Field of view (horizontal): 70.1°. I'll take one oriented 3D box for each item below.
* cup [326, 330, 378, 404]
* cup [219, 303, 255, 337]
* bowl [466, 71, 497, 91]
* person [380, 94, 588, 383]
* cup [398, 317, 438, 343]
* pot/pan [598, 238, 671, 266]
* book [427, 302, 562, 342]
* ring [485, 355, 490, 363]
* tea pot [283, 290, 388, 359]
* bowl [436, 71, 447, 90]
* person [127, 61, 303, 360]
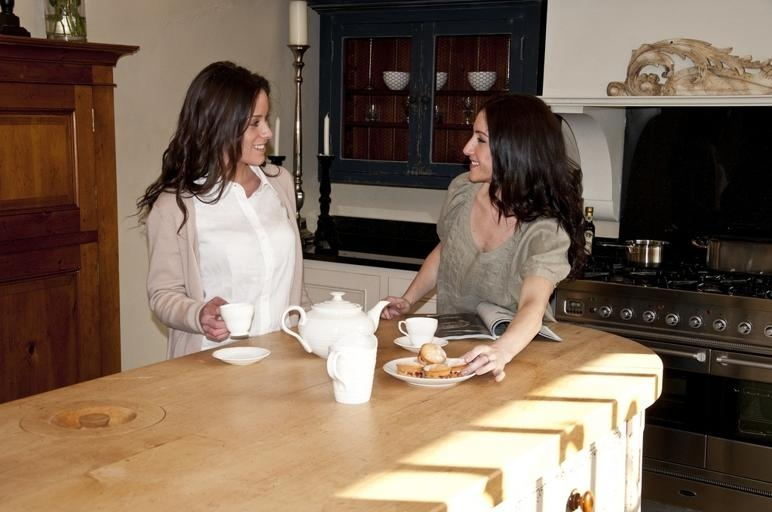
[{"bbox_3d":[-0.089,0.307,1.574,0.120,0.171,0.224,2,12,3],"label":"cup"},{"bbox_3d":[-0.455,0.191,1.705,0.103,0.087,0.102,-4,1,0],"label":"cup"},{"bbox_3d":[0.654,-1.189,3.748,0.149,0.091,0.147,-1,5,0],"label":"bowl"},{"bbox_3d":[0.456,-0.110,2.448,0.687,1.200,1.016,-6,40,-12],"label":"person"},{"bbox_3d":[0.123,0.240,1.902,0.115,0.074,0.092,4,10,25],"label":"cup"},{"bbox_3d":[1.588,-0.017,3.477,0.360,0.127,0.202,-1,3,20],"label":"pot/pan"},{"bbox_3d":[0.330,0.251,2.098,0.293,0.097,0.282,3,12,3],"label":"book"},{"bbox_3d":[0.305,0.311,1.657,0.014,0.013,0.013,-1,-3,0],"label":"ring"},{"bbox_3d":[-0.167,0.215,1.786,0.291,0.176,0.206,2,1,-4],"label":"tea pot"},{"bbox_3d":[0.389,-1.231,3.872,0.105,0.112,0.101,-1,9,0],"label":"bowl"},{"bbox_3d":[-0.616,-0.209,2.171,0.629,1.082,0.520,-4,14,-24],"label":"person"}]
